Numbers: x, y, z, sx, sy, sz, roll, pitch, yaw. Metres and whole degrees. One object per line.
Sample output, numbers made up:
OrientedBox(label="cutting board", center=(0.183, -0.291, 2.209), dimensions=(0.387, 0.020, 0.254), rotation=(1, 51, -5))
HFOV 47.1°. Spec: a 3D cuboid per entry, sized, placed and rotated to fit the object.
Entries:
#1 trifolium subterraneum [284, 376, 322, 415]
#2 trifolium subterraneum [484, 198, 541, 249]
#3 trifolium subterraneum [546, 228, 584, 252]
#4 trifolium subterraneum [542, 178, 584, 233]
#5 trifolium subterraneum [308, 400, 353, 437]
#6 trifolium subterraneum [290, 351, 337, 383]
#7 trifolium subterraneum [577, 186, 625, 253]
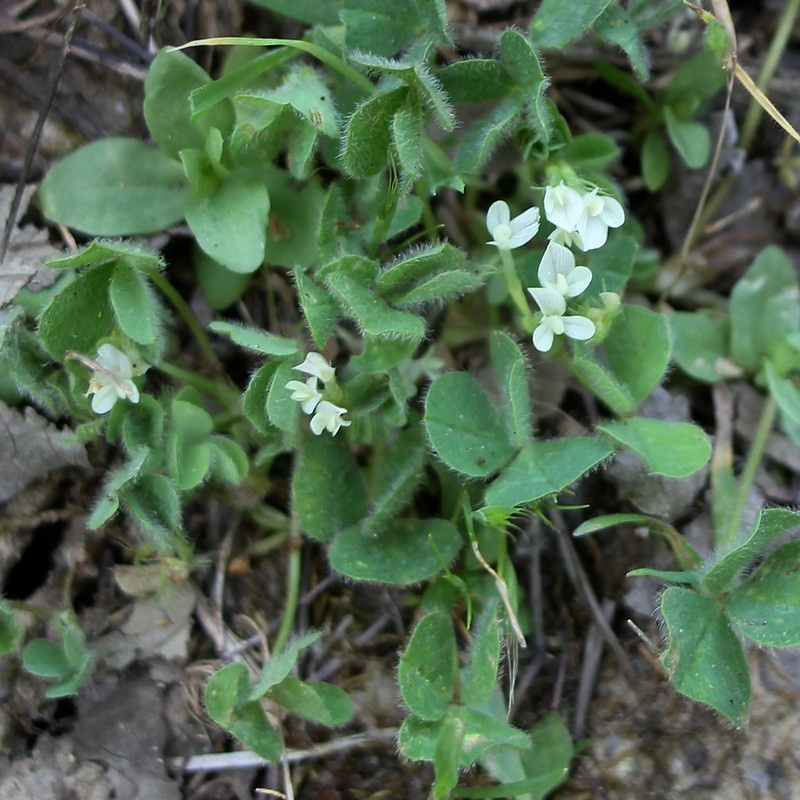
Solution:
OrientedBox(label="trifolium subterraneum", center=(-0.157, -0.038, 1.555), dimensions=(0.058, 0.066, 0.027), rotation=(-11, 23, -13))
OrientedBox(label="trifolium subterraneum", center=(0.201, -0.336, 1.567), dimensions=(0.084, 0.048, 0.090), rotation=(-25, 91, 5))
OrientedBox(label="trifolium subterraneum", center=(0.286, -0.321, 1.607), dimensions=(0.054, 0.025, 0.058), rotation=(-19, 55, -42))
OrientedBox(label="trifolium subterraneum", center=(0.287, -0.398, 1.600), dimensions=(0.066, 0.043, 0.129), rotation=(13, 63, -6))
OrientedBox(label="trifolium subterraneum", center=(-0.119, 0.008, 1.582), dimensions=(0.072, 0.082, 0.070), rotation=(1, 64, -11))
OrientedBox(label="trifolium subterraneum", center=(-0.146, -0.083, 1.577), dimensions=(0.069, 0.047, 0.036), rotation=(11, 62, -7))
OrientedBox(label="trifolium subterraneum", center=(0.342, -0.359, 1.593), dimensions=(0.102, 0.106, 0.041), rotation=(-23, 29, -17))
